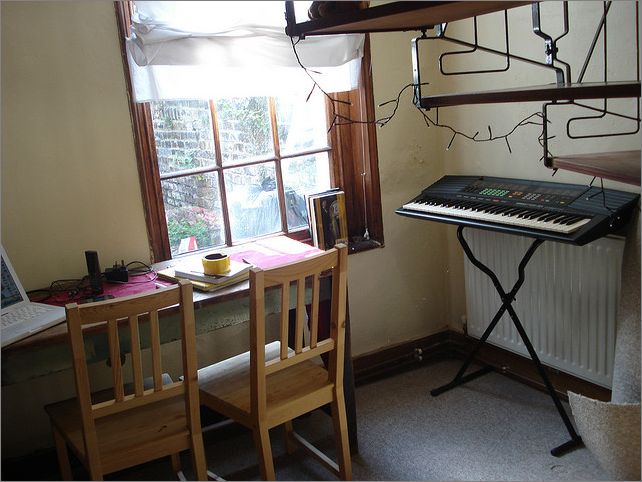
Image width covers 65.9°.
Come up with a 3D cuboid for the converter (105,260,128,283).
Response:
[{"bbox_3d":[-0.992,0.155,2.465,0.115,0.120,0.075,-2,18,-9],"label":"converter"}]

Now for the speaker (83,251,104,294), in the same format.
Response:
[{"bbox_3d":[-1.054,0.139,2.311,0.039,0.208,0.066,-4,20,-9],"label":"speaker"}]
